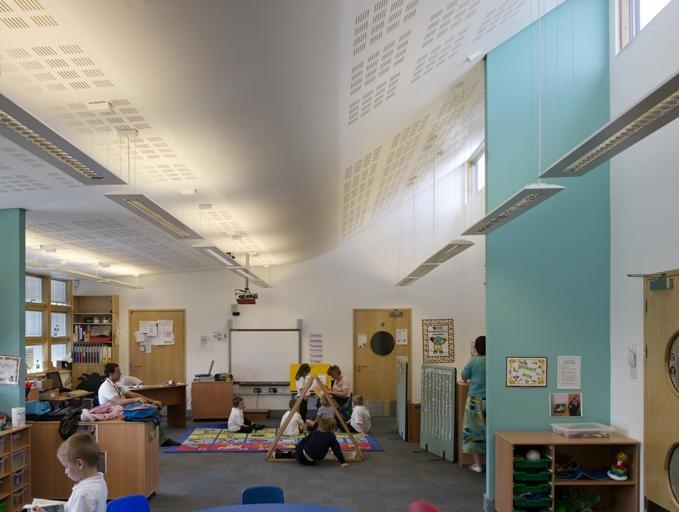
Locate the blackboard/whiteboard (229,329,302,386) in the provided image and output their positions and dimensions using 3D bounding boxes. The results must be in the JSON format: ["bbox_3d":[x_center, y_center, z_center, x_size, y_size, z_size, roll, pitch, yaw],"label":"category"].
[{"bbox_3d":[-1.620,2.298,11.340,1.240,0.936,0.056,0,-7,-1],"label":"blackboard/whiteboard"}]

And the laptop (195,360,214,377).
[{"bbox_3d":[-2.962,2.482,11.178,0.346,0.278,0.378,4,-8,-15],"label":"laptop"}]

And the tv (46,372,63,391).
[{"bbox_3d":[-5.665,2.474,10.072,0.180,0.359,0.358,-10,-5,9],"label":"tv"}]

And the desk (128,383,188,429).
[{"bbox_3d":[-3.512,2.947,9.835,0.448,0.866,1.013,-5,-6,26],"label":"desk"}]

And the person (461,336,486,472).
[{"bbox_3d":[1.900,2.073,7.184,0.320,1.863,0.392,-2,-6,13],"label":"person"}]

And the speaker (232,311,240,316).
[{"bbox_3d":[-2.366,1.306,11.550,0.172,0.119,0.111,0,-6,-2],"label":"speaker"}]

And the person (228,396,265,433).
[{"bbox_3d":[-1.777,3.000,9.812,0.774,0.783,0.562,0,-5,-9],"label":"person"}]

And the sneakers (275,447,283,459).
[{"bbox_3d":[-0.914,3.006,7.748,0.099,0.135,0.074,2,-14,-5],"label":"sneakers"}]

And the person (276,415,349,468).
[{"bbox_3d":[-0.421,2.714,7.477,1.051,0.674,0.625,-3,-1,3],"label":"person"}]

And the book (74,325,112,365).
[{"bbox_3d":[-5.553,2.007,11.380,0.862,0.873,0.305,0,-6,-4],"label":"book"}]

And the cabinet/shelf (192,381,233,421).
[{"bbox_3d":[-2.685,3.047,10.999,0.817,0.780,0.817,0,-4,-3],"label":"cabinet/shelf"}]

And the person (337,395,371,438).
[{"bbox_3d":[0.330,2.947,9.573,0.634,0.865,0.655,4,-5,-34],"label":"person"}]

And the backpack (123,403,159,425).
[{"bbox_3d":[-2.433,1.904,6.191,0.273,0.098,0.276,2,-6,1],"label":"backpack"}]
